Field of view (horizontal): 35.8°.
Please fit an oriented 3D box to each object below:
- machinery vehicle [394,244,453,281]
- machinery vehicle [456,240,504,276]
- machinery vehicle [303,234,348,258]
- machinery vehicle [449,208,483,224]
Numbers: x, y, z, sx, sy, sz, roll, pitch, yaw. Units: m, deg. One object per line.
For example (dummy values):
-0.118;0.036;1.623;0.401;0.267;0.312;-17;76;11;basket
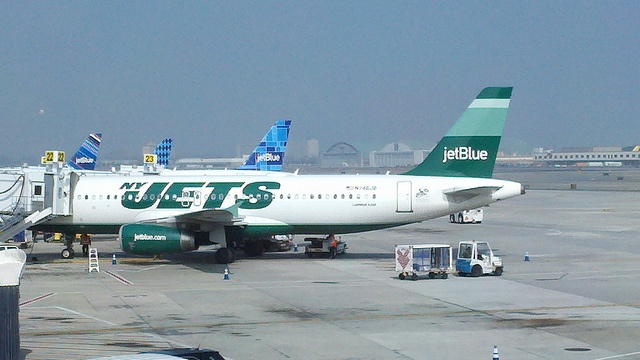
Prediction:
7.693;6.075;73.429;4.363;2.008;2.017;-2;1;9;machinery vehicle
11.687;5.924;73.355;3.105;2.590;1.265;2;-5;2;machinery vehicle
0.498;5.271;80.622;2.405;1.410;3.788;2;3;26;machinery vehicle
14.810;3.736;99.544;2.660;1.204;4.145;-1;0;-3;machinery vehicle
